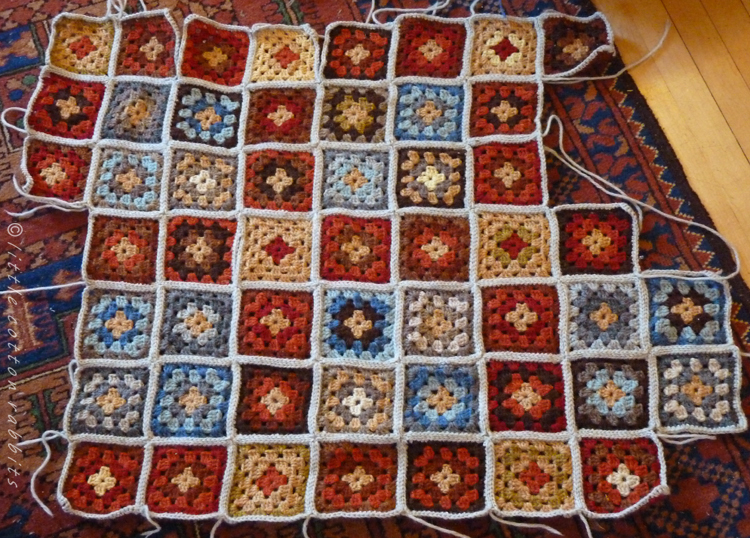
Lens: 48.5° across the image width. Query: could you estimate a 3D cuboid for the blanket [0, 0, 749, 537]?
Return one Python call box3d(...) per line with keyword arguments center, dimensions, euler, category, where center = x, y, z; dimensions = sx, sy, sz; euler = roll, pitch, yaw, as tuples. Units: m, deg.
box3d(center=(-0.010, -0.048, 2.930), dimensions=(2.394, 0.165, 2.017), euler=(-7, 85, 0), category="blanket")
